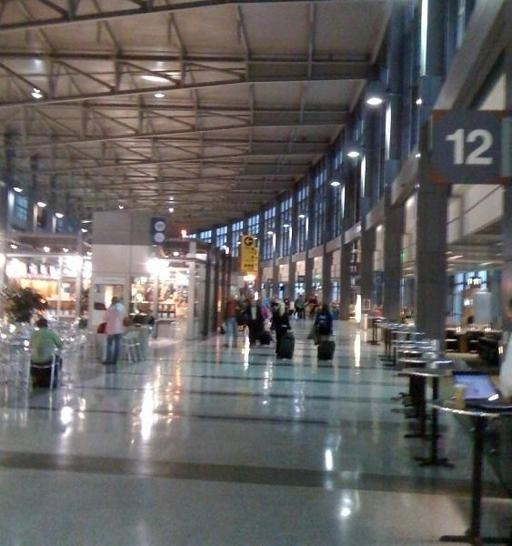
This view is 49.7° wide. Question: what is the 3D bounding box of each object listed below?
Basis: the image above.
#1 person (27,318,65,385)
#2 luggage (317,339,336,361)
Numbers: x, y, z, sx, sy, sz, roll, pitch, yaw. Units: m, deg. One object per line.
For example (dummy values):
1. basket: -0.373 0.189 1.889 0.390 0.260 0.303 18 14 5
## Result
1. person: -3.626 1.365 9.508 0.587 1.192 0.437 -1 -7 6
2. luggage: 1.926 2.102 15.174 0.508 0.573 0.509 2 -4 8
